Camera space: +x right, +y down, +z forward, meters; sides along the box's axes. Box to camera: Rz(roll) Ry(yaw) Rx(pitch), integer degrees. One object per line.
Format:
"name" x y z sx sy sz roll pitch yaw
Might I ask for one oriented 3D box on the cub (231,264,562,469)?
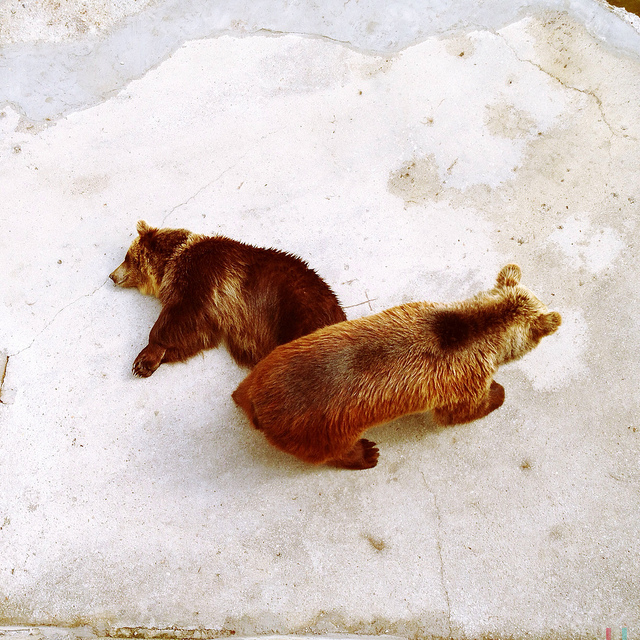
"cub" 0.655 0.490 8.927 2.762 0.996 0.972 -14 66 -12

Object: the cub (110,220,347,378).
"cub" -0.878 -0.134 9.922 2.207 1.152 1.712 11 102 15
